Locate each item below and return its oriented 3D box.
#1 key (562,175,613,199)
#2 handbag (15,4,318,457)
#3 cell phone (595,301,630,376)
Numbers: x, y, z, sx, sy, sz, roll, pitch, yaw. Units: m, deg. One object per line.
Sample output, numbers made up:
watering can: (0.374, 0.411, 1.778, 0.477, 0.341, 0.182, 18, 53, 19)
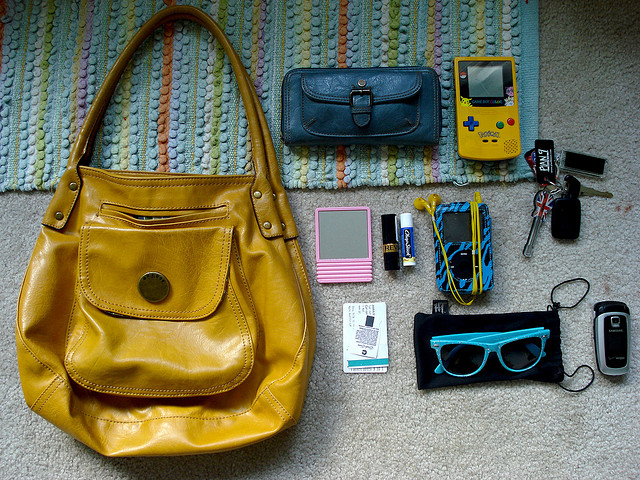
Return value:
key: (0.581, -0.112, 1.544, 0.085, 0.058, 0.026, 13, 5, 2)
handbag: (-0.300, 0.016, 1.485, 0.745, 1.373, 0.267, -2, -7, 4)
cell phone: (0.631, 0.203, 1.529, 0.070, 0.180, 0.039, -5, 19, 19)
